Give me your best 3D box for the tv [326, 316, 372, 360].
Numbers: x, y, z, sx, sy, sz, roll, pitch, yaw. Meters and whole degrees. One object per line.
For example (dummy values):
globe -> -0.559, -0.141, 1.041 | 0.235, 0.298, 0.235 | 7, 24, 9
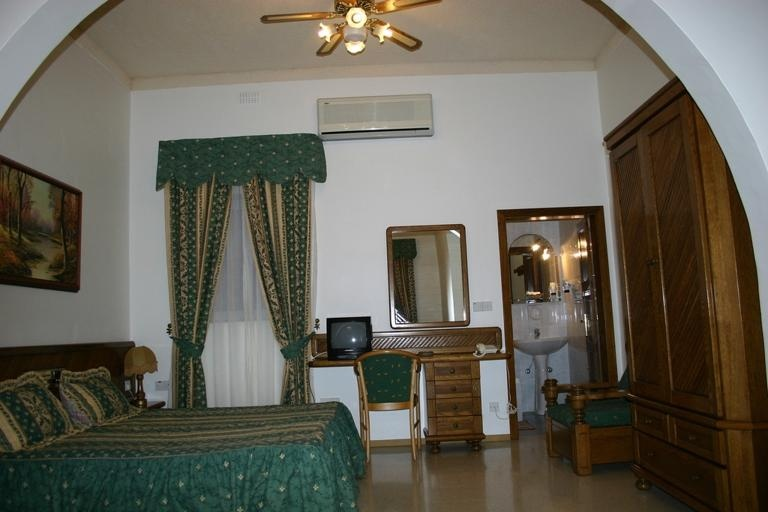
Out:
tv -> -0.350, 0.880, 6.450 | 0.652, 0.626, 0.359 | -2, -13, 1

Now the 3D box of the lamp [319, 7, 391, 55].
lamp -> -0.287, -1.828, 4.812 | 0.628, 0.319, 0.437 | -1, 3, 20

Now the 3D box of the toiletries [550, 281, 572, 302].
toiletries -> 2.234, 0.412, 7.529 | 0.274, 0.268, 0.080 | -1, 2, 16

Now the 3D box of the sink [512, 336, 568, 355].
sink -> 1.905, 1.088, 7.213 | 0.687, 0.220, 0.197 | -2, 2, -12

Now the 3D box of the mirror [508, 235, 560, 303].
mirror -> 1.887, 0.181, 7.545 | 0.752, 1.142, 0.105 | -1, -5, -7

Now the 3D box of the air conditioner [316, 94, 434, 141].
air conditioner -> -0.110, -1.548, 6.536 | 1.255, 0.456, 0.194 | -2, 2, 0

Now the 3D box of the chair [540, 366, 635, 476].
chair -> 1.867, 1.529, 5.642 | 0.814, 1.100, 0.738 | 0, -6, -3

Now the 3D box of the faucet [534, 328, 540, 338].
faucet -> 1.915, 0.941, 7.418 | 0.082, 0.099, 0.213 | -1, 3, 16

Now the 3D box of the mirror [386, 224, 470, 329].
mirror -> 0.486, 0.258, 6.475 | 0.980, 1.338, 0.053 | -1, -1, 1

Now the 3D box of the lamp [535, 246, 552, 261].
lamp -> 2.059, -0.055, 7.608 | 0.225, 0.242, 0.133 | -1, 2, 22
